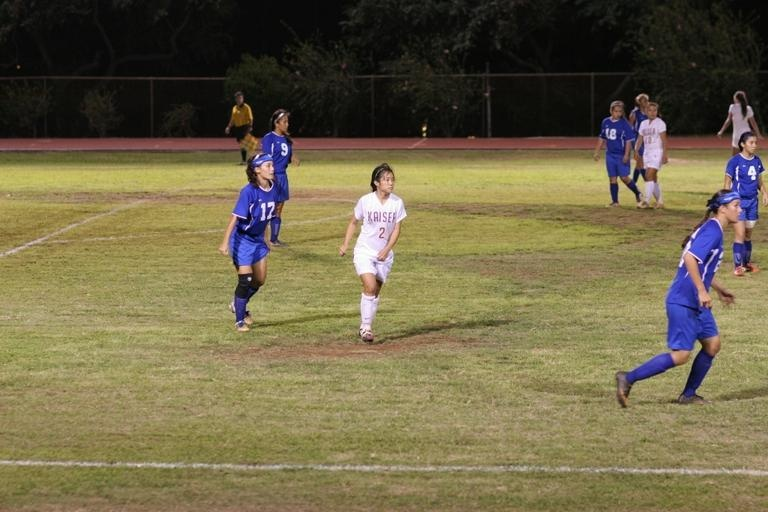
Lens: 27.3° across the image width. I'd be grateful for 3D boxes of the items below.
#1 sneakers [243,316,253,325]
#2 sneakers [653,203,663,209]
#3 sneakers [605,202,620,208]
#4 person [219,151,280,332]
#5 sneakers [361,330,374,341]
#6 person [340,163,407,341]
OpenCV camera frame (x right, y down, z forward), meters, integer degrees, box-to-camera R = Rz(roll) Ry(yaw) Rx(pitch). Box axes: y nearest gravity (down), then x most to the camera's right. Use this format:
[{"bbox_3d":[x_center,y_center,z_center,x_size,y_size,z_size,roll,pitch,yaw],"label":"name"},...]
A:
[{"bbox_3d":[-2.894,1.370,33.409,0.219,0.185,0.505,0,-3,-5],"label":"sneakers"},{"bbox_3d":[7.383,-1.368,42.843,0.175,0.155,0.426,-2,-4,13],"label":"sneakers"},{"bbox_3d":[6.187,-1.383,42.916,0.325,0.103,0.109,2,5,0],"label":"sneakers"},{"bbox_3d":[-2.829,-0.290,33.145,1.099,3.704,0.501,0,10,-15],"label":"person"},{"bbox_3d":[-0.357,1.635,32.930,0.299,0.249,0.240,0,9,-13],"label":"sneakers"},{"bbox_3d":[-0.240,-0.080,32.915,1.177,3.660,0.769,3,9,-1],"label":"person"}]
